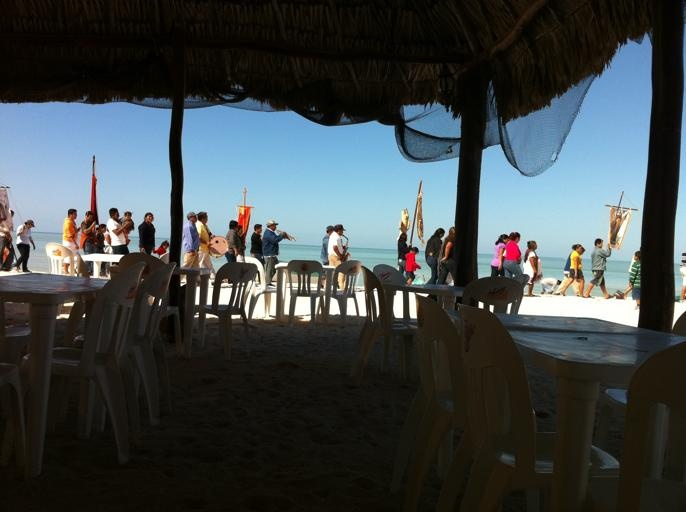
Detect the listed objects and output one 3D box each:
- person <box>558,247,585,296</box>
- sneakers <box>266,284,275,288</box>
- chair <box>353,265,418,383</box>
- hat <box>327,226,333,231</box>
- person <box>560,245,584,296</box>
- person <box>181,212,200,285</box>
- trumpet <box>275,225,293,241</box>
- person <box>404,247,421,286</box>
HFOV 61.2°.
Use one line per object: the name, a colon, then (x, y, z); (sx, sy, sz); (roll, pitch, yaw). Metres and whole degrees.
person: (5.850, 0.349, 14.670); (0.639, 1.330, 0.496); (-4, 12, 1)
sneakers: (-1.461, 0.605, 11.741); (0.129, 0.081, 0.196); (1, -6, -19)
chair: (0.457, 0.671, 5.588); (0.573, 1.020, 0.578); (8, -9, -4)
hat: (-0.250, -0.548, 11.142); (0.083, 0.075, 0.093); (0, -5, -2)
person: (5.851, 0.334, 14.659); (0.669, 1.357, 0.490); (-7, 15, 0)
person: (-2.780, -0.174, 10.586); (0.259, 1.241, 0.344); (0, 2, 9)
trumpet: (-1.221, -0.470, 11.971); (0.210, 0.364, 0.784); (12, 4, 4)
person: (1.641, 0.255, 13.678); (0.308, 0.978, 0.346); (-3, 16, -9)
